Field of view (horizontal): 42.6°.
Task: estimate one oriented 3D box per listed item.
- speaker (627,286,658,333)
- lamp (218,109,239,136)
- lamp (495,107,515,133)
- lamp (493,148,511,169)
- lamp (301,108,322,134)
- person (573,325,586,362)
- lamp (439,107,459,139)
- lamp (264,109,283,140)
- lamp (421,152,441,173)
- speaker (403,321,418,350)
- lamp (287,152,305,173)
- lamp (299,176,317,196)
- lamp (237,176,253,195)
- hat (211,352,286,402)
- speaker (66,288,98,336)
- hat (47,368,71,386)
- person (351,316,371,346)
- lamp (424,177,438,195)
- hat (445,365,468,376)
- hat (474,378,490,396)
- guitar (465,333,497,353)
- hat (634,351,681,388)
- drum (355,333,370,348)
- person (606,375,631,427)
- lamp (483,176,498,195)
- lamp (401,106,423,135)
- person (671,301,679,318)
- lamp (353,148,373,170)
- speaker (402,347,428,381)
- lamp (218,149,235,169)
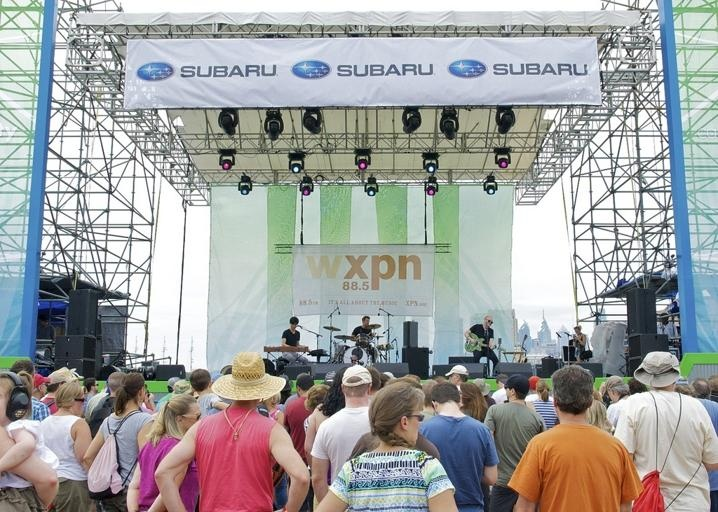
[{"bbox_3d":[5.600,1.108,18.329,0.594,0.965,0.415,-8,-14,27],"label":"speaker"},{"bbox_3d":[-2.910,-2.978,20.585,0.397,0.597,0.503,1,18,-3],"label":"lamp"},{"bbox_3d":[3.207,-3.073,20.194,0.359,0.529,0.995,-3,-14,7],"label":"lamp"},{"bbox_3d":[3.696,-2.480,23.745,0.376,0.662,0.912,-3,-13,8],"label":"lamp"},{"bbox_3d":[-1.054,-3.134,20.694,0.388,0.643,1.155,-2,-14,1],"label":"lamp"},{"bbox_3d":[5.353,2.091,22.310,0.293,0.974,1.115,-4,-13,13],"label":"person"},{"bbox_3d":[2.053,-3.056,20.995,0.390,0.697,0.351,-2,-23,8],"label":"lamp"},{"bbox_3d":[-1.933,-2.980,20.899,0.434,0.700,0.232,-2,10,-3],"label":"lamp"},{"bbox_3d":[1.886,-2.411,24.220,0.409,0.593,0.935,-4,-14,9],"label":"lamp"},{"bbox_3d":[1.236,1.856,21.885,0.258,0.649,0.620,0,-13,-5],"label":"speaker"},{"bbox_3d":[-1.610,-2.427,23.902,0.469,0.687,0.506,0,6,3],"label":"lamp"},{"bbox_3d":[-1.492,-1.960,25.763,0.337,0.493,0.535,-2,-13,0],"label":"lamp"},{"bbox_3d":[-3.181,-1.989,25.657,0.538,0.484,0.782,-5,-14,-6],"label":"lamp"},{"bbox_3d":[-1.273,1.417,10.482,0.580,0.295,0.609,7,3,41],"label":"hat"},{"bbox_3d":[-5.683,1.181,18.874,0.581,0.992,0.459,3,-13,-19],"label":"speaker"},{"bbox_3d":[-4.151,1.661,12.772,0.236,0.274,0.324,8,-4,-4],"label":"hat"},{"bbox_3d":[0.083,1.887,22.484,0.517,0.550,0.818,5,29,2],"label":"person"},{"bbox_3d":[2.031,-1.925,25.929,0.388,0.486,1.052,-2,-14,2],"label":"lamp"},{"bbox_3d":[1.413,1.623,13.417,0.300,0.176,0.221,0,-14,10],"label":"hat"},{"bbox_3d":[1.798,1.948,13.444,0.291,0.149,0.356,0,7,11],"label":"hat"},{"bbox_3d":[2.967,2.152,23.067,0.750,0.513,0.508,-7,-14,21],"label":"guitar"},{"bbox_3d":[3.647,1.324,11.128,0.540,0.331,0.730,-1,8,40],"label":"hat"},{"bbox_3d":[0.091,2.026,22.079,0.271,0.279,0.291,2,-10,-8],"label":"drum"},{"bbox_3d":[3.544,2.121,12.782,0.263,0.929,0.421,12,42,19],"label":"person"},{"bbox_3d":[3.747,-2.040,26.247,0.426,0.468,0.577,-4,-13,8],"label":"lamp"},{"bbox_3d":[1.197,-3.085,20.865,0.397,0.581,0.550,0,-1,-3],"label":"lamp"},{"bbox_3d":[7.962,1.305,23.252,0.185,0.473,0.957,-5,-14,17],"label":"person"},{"bbox_3d":[0.161,-2.476,23.584,0.503,0.691,0.539,0,-4,-3],"label":"lamp"},{"bbox_3d":[1.284,2.418,20.658,0.703,1.121,0.563,-1,-1,0],"label":"speaker"},{"bbox_3d":[-3.438,-2.520,24.010,0.471,0.689,0.502,0,-2,-7],"label":"lamp"}]
